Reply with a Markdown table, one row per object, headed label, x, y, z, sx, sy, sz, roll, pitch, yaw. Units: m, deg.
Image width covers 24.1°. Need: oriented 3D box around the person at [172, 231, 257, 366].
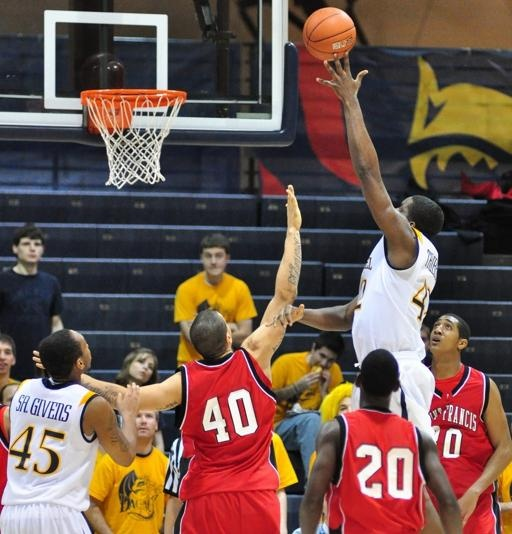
| label | x | y | z | sx | sy | sz | roll | pitch | yaw |
| --- | --- | --- | --- | --- | --- | --- | --- | --- | --- |
| person | -0.322 | 0.619 | 9.411 | 0.609 | 1.804 | 0.503 | -1 | 7 | -12 |
